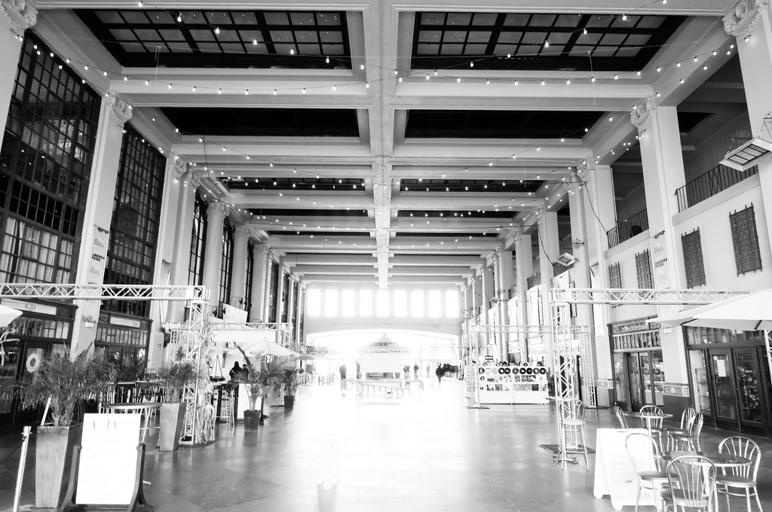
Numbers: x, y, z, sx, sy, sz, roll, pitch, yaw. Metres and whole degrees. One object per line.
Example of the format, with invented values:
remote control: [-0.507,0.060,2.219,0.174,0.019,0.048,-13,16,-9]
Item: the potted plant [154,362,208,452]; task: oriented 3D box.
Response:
potted plant: [-6.099,4.453,15.209,0.679,2.556,1.368,-11,-22,31]
